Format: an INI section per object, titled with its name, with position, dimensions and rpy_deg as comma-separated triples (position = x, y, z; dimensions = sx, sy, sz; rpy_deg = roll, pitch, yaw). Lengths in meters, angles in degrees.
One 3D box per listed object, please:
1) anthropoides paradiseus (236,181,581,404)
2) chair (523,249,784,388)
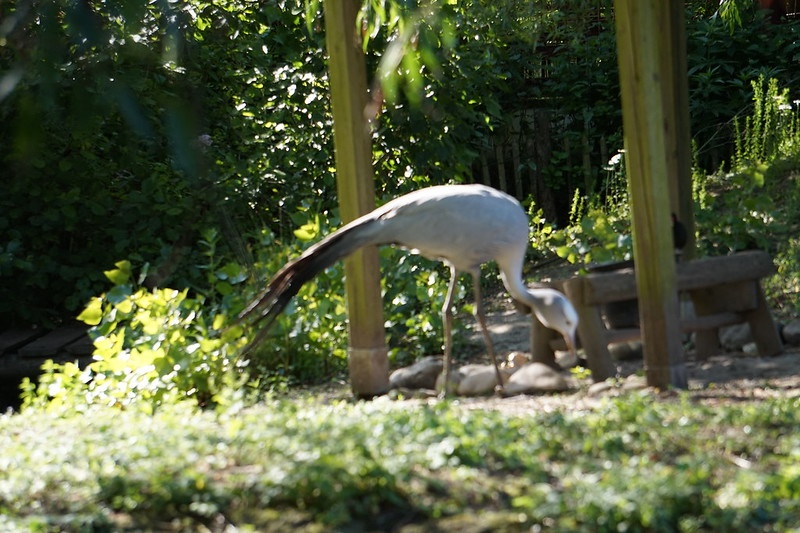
[anthropoides paradiseus]
position = 0.120, 0.165, 4.167
dimensions = 1.481, 1.089, 0.330
rpy_deg = -6, 7, 0
[chair]
position = 1.480, 0.132, 4.743
dimensions = 1.085, 0.536, 0.772
rpy_deg = -8, -6, -8
